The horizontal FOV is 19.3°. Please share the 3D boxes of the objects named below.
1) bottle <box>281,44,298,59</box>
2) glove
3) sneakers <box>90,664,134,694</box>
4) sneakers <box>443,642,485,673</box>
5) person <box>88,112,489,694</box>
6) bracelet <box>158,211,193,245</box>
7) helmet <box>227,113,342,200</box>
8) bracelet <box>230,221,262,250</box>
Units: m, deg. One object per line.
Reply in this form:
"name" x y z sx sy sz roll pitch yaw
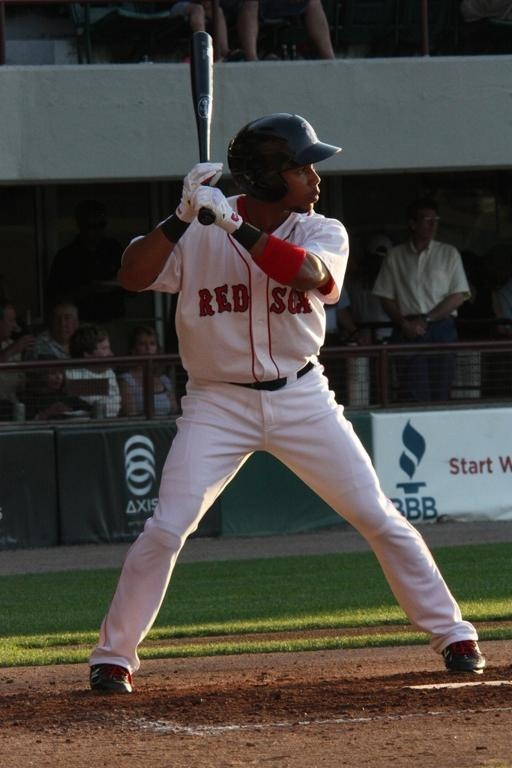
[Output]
"bottle" 0.237 -2.313 10.567 0.106 0.103 0.098 4 35 7
"glove" -0.163 -0.679 5.400 0.184 0.280 0.084 4 -39 14
"sneakers" -0.543 1.123 5.721 0.088 0.077 0.209 -2 5 -16
"sneakers" 0.796 1.050 5.819 0.089 0.099 0.186 0 5 2
"person" 0.057 0.064 5.650 1.336 2.061 0.868 0 -14 -7
"bracelet" -0.295 -0.560 5.545 0.073 0.052 0.190 22 -10 5
"helmet" 0.110 -0.848 5.689 0.436 0.328 0.323 -4 16 -9
"bracelet" -0.032 -0.523 5.396 0.081 0.048 0.110 -36 -58 20
